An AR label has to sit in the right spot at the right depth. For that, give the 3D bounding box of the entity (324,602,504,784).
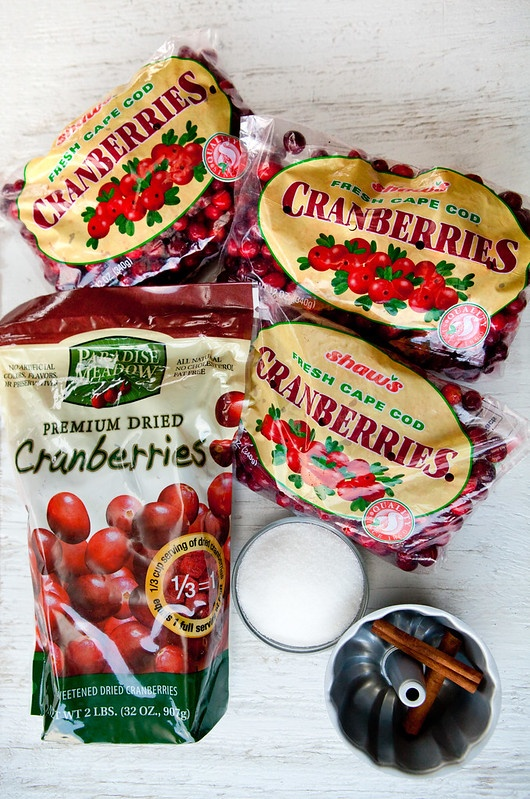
[{"bbox_3d":[0.186,0.336,0.926,0.212,0.189,0.112,0,9,8],"label":"entity"}]

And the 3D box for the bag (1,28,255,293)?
[{"bbox_3d":[-0.149,-0.275,0.937,0.255,0.322,0.093,41,2,-4],"label":"bag"}]
